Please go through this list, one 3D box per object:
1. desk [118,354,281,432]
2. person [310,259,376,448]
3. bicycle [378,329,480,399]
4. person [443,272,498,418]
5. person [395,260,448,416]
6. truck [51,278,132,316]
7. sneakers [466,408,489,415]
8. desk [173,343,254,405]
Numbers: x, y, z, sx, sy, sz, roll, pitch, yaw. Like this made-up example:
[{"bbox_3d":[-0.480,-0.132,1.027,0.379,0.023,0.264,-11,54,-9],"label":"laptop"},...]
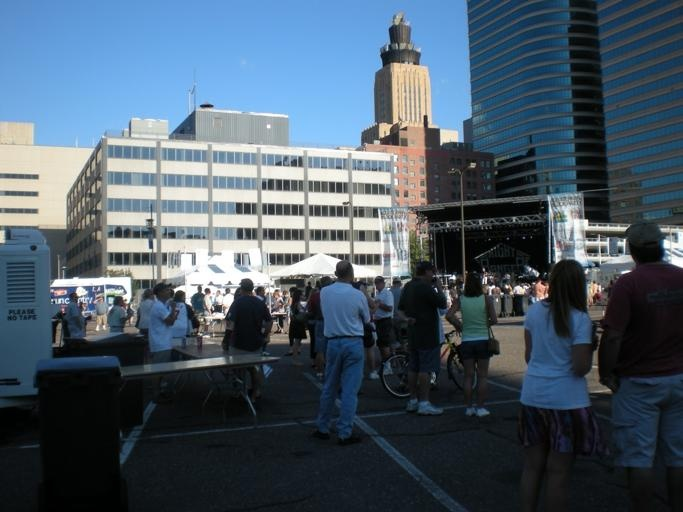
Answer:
[{"bbox_3d":[-2.011,2.018,9.396,1.440,0.381,0.991,-2,3,-28],"label":"desk"},{"bbox_3d":[-0.015,1.212,9.040,0.705,2.295,0.858,-4,-3,13],"label":"person"},{"bbox_3d":[1.540,1.832,11.885,1.814,1.219,0.935,-3,1,-18],"label":"bicycle"},{"bbox_3d":[1.890,1.248,10.008,0.671,2.037,0.815,-3,-2,9],"label":"person"},{"bbox_3d":[1.205,1.180,10.152,0.654,2.236,0.517,-3,-3,9],"label":"person"},{"bbox_3d":[-14.996,2.345,40.447,4.261,2.233,1.535,2,19,-17],"label":"truck"},{"bbox_3d":[1.902,2.199,9.727,0.319,0.141,0.127,1,0,-15],"label":"sneakers"},{"bbox_3d":[-1.810,1.652,9.701,1.205,0.306,0.534,-8,0,-15],"label":"desk"}]
